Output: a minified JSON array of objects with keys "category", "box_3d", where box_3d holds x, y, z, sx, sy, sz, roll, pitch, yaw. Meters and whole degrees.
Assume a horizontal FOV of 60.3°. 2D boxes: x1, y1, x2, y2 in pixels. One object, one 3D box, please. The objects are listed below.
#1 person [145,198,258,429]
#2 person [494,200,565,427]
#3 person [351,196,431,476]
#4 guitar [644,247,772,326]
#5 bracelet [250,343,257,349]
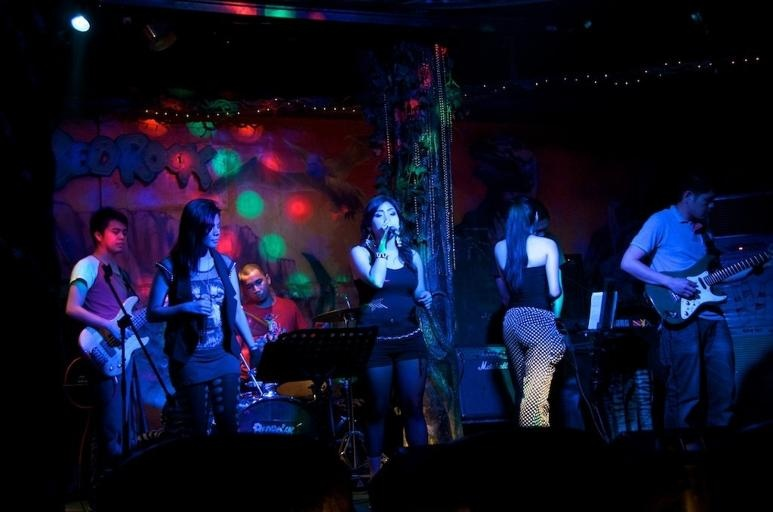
[{"category":"person","box_3d":[-1.643,0.515,5.678,0.770,1.941,0.514,2,-14,-15]},{"category":"person","box_3d":[1.390,0.482,6.448,0.609,2.239,0.497,-4,-14,9]},{"category":"person","box_3d":[0.031,0.678,6.010,0.678,2.451,0.446,10,-18,-39]},{"category":"guitar","box_3d":[3.460,0.354,7.195,1.706,0.629,0.170,-21,-8,-4]},{"category":"bracelet","box_3d":[-1.270,0.853,6.312,0.056,0.055,0.085,13,-2,-4]}]
